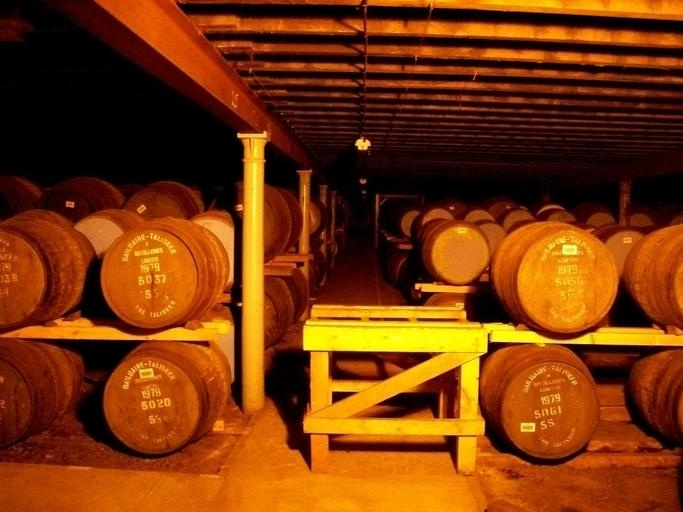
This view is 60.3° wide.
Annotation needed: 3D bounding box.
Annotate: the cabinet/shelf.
[{"bbox_3d":[0.608,1.196,6.489,1.723,1.342,1.697,1,3,4],"label":"cabinet/shelf"}]
